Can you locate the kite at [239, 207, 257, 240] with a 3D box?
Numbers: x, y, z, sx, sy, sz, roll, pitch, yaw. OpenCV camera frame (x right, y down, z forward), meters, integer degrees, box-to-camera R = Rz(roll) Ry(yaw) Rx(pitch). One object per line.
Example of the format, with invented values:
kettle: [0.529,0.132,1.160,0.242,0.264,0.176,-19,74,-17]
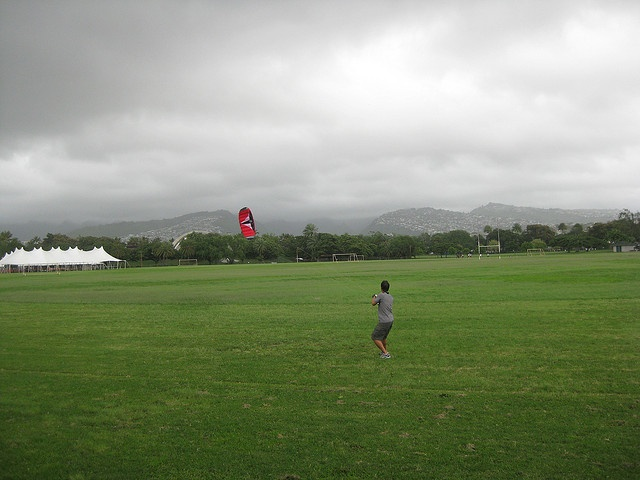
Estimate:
kite: [-6.989,-1.603,51.785,1.378,3.222,5.049,-3,11,-9]

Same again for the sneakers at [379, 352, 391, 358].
sneakers: [1.846,3.318,15.505,0.114,0.140,0.308,12,-16,-43]
